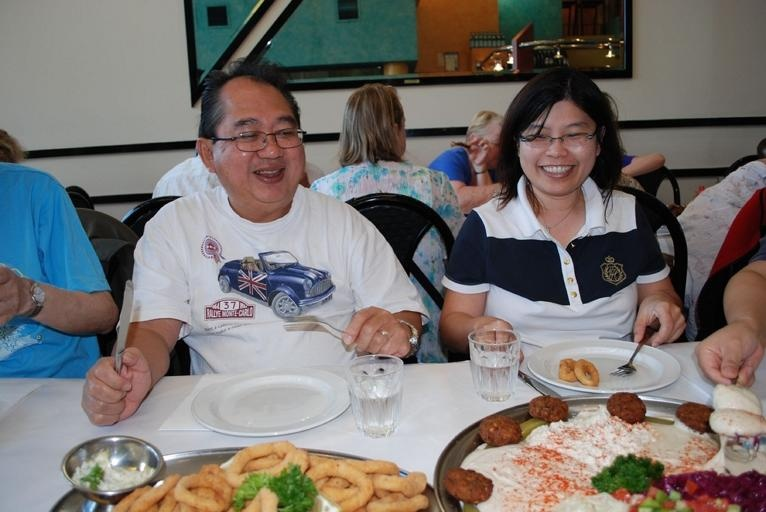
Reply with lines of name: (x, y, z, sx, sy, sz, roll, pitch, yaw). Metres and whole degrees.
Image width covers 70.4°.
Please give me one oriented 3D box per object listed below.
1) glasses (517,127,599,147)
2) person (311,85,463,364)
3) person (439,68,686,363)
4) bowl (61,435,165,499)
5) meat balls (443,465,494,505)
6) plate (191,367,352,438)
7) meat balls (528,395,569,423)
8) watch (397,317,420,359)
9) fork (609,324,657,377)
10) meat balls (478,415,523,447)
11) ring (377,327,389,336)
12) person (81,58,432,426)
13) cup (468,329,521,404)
glasses: (0.707, -0.475, 2.180, 0.285, 0.060, 0.066, -1, 22, 11)
person: (0.070, -0.120, 3.015, 0.786, 1.569, 0.932, -1, 12, -10)
person: (0.733, -0.109, 2.211, 0.984, 1.125, 0.610, -5, 19, 7)
bowl: (-0.655, 0.517, 1.299, 0.212, 0.073, 0.208, 17, 11, -3)
meat balls: (0.204, 0.545, 1.295, 0.117, 0.063, 0.058, -1, 22, 11)
plate: (-0.327, 0.426, 1.591, 0.446, 0.052, 0.440, 2, 9, 7)
meat balls: (0.457, 0.421, 1.502, 0.085, 0.033, 0.066, 3, 15, 22)
watch: (0.109, 0.295, 1.992, 0.050, 0.121, 0.102, -7, 42, -21)
fork: (0.839, 0.320, 1.791, 0.243, 0.028, 0.031, -40, 29, -24)
meat balls: (0.311, 0.445, 1.452, 0.079, 0.039, 0.081, 1, 14, 0)
ring: (0.003, 0.256, 1.832, 0.038, 0.027, 0.015, -22, 27, -37)
person: (-0.451, -0.155, 2.264, 1.154, 1.242, 0.837, 2, 16, -8)
cup: (0.337, 0.316, 1.683, 0.136, 0.231, 0.125, -3, 8, 0)
